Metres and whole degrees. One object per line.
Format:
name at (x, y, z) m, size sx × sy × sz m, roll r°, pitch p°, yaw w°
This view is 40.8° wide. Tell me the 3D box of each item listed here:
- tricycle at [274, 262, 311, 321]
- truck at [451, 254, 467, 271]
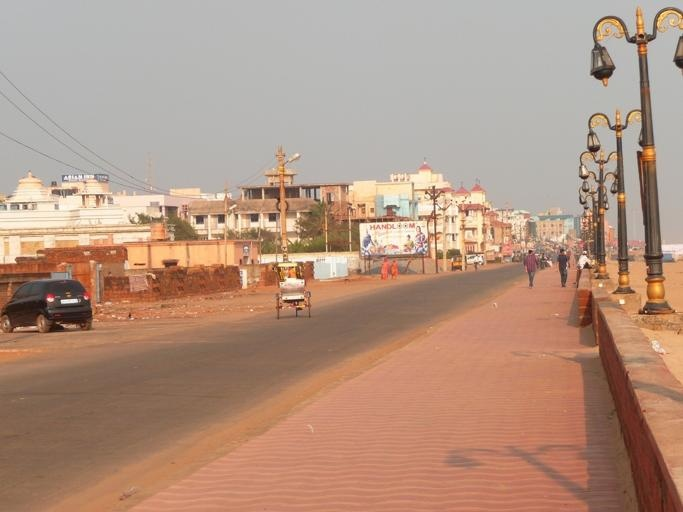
tricycle at (-1.573, 1.030, 29.650) m, size 1.082 × 1.961 × 0.997 m, roll 1°, pitch 4°, yaw 10°
truck at (13.136, 0.787, 102.947) m, size 1.571 × 1.418 × 2.458 m, roll -1°, pitch -3°, yaw 2°
